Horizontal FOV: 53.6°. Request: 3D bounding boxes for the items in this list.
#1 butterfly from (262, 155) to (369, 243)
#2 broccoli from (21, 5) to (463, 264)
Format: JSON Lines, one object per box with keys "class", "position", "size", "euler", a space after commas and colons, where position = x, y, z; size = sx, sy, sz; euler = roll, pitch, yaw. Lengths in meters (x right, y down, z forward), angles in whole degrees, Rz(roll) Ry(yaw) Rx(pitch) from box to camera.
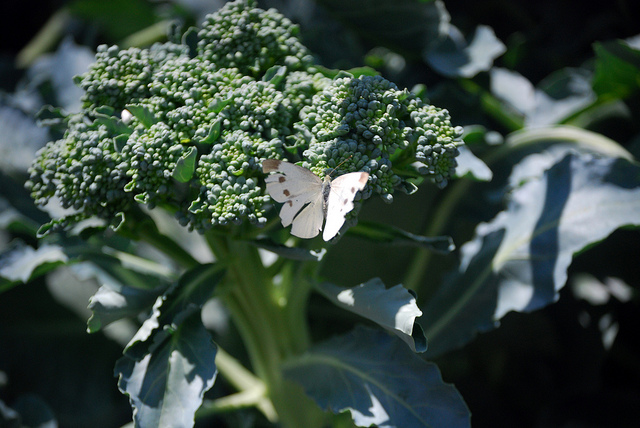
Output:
{"class": "butterfly", "position": [-0.012, -0.025, 1.212], "size": [0.201, 0.142, 0.062], "euler": [10, 18, 14]}
{"class": "broccoli", "position": [-0.106, -0.160, 1.314], "size": [0.613, 0.675, 0.320], "euler": [-6, -29, 15]}
